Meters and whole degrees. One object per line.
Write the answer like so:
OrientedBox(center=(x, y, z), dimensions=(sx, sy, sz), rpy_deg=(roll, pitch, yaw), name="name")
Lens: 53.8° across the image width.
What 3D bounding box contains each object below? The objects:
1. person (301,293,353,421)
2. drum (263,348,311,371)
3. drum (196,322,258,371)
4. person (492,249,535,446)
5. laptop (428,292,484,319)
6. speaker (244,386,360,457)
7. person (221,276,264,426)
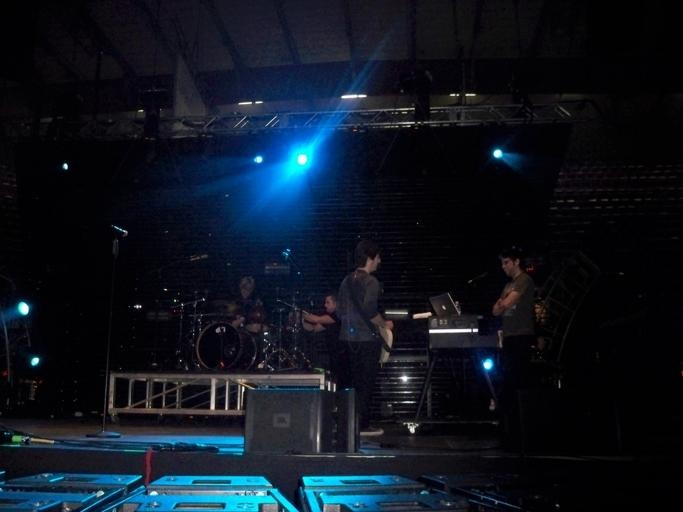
OrientedBox(center=(-0.278, 1.113, 9.166), dimensions=(0.508, 0.452, 1.404), rpy_deg=(7, -54, 4), name="person")
OrientedBox(center=(-0.745, 1.472, 9.451), dimensions=(0.471, 0.150, 0.340), rpy_deg=(7, -17, -23), name="drum")
OrientedBox(center=(-1.515, 1.172, 8.907), dimensions=(0.809, 0.611, 0.297), rpy_deg=(1, -12, -10), name="drum")
OrientedBox(center=(1.870, 0.901, 7.190), dimensions=(0.449, 2.112, 1.440), rpy_deg=(-4, -12, 14), name="person")
OrientedBox(center=(1.392, 0.651, 8.707), dimensions=(0.355, 0.328, 0.484), rpy_deg=(0, -7, -30), name="laptop")
OrientedBox(center=(-0.399, 1.568, 6.591), dimensions=(0.828, 0.491, 0.815), rpy_deg=(2, -20, -6), name="speaker")
OrientedBox(center=(-1.286, 1.013, 9.614), dimensions=(0.572, 1.635, 0.910), rpy_deg=(0, 26, 1), name="person")
